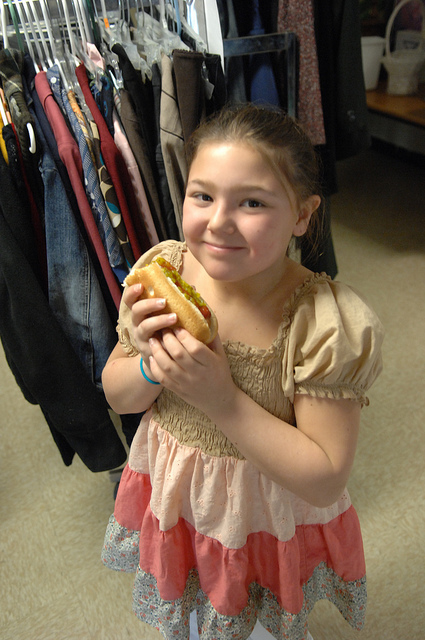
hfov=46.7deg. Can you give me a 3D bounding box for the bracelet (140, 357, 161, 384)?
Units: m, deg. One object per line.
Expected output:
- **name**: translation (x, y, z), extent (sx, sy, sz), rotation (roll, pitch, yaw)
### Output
- **bracelet**: translation (-0.092, 0.077, 0.753), extent (0.037, 0.038, 0.009), rotation (22, 37, 37)

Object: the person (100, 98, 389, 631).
- **person**: translation (0.038, 0.117, 0.766), extent (0.435, 0.830, 0.346), rotation (6, 18, 17)

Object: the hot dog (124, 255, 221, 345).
- **hot dog**: translation (-0.053, -0.021, 0.638), extent (0.142, 0.046, 0.076), rotation (52, 44, 4)

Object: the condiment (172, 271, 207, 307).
- **condiment**: translation (-0.030, -0.043, 0.665), extent (0.013, 0.012, 0.066), rotation (-26, 73, -44)

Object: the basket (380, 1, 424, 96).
- **basket**: translation (1.024, -1.493, 2.648), extent (0.228, 0.406, 0.785), rotation (3, 37, 17)
